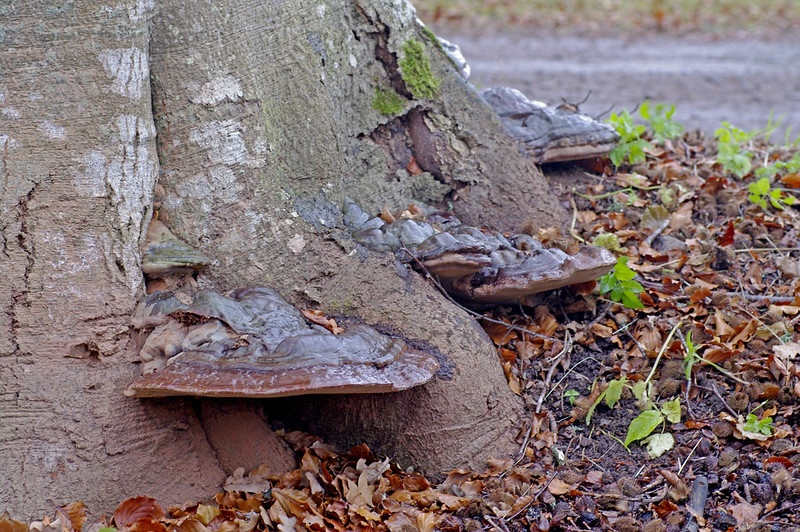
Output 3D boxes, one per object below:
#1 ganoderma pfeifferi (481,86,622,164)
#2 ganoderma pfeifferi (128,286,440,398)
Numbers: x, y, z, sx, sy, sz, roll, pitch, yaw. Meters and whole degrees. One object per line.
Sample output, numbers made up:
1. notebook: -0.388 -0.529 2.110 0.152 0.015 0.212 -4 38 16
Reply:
1. ganoderma pfeifferi: 1.117 -1.039 6.710 0.793 0.300 0.638 20 16 16
2. ganoderma pfeifferi: -0.709 0.434 5.015 1.616 0.521 0.717 -5 35 3
